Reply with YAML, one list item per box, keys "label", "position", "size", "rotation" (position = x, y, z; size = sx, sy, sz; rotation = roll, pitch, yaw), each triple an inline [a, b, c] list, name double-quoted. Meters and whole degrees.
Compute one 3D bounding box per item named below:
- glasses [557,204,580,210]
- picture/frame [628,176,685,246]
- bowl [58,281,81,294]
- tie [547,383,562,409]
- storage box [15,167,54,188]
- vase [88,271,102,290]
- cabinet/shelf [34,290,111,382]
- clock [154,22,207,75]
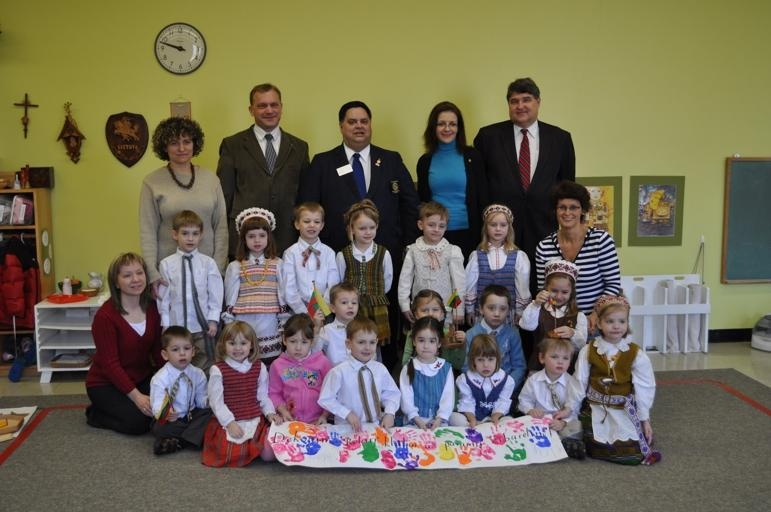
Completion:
- label: "glasses"
  position: [1.452, -0.383, 5.252]
  size: [0.169, 0.054, 0.044]
  rotation: [-1, 7, 8]
- label: "picture/frame"
  position: [2.654, -0.466, 6.561]
  size: [0.682, 0.871, 0.041]
  rotation: [0, 5, -7]
- label: "bowl"
  position: [-2.952, 0.283, 6.181]
  size: [0.168, 0.108, 0.168]
  rotation: [0, 1, 0]
- label: "tie"
  position: [1.251, 1.039, 4.920]
  size: [0.057, 0.206, 0.059]
  rotation: [-23, -21, 7]
- label: "storage box"
  position: [-3.251, -0.716, 6.142]
  size: [0.310, 0.222, 0.147]
  rotation: [-6, 8, -27]
- label: "vase"
  position: [-2.683, 0.233, 6.197]
  size: [0.168, 0.170, 0.118]
  rotation: [1, -3, -9]
- label: "cabinet/shelf"
  position: [-2.777, 0.713, 6.012]
  size: [0.714, 0.513, 0.549]
  rotation: [-2, 5, -17]
- label: "clock"
  position: [-1.943, -1.964, 6.220]
  size: [0.468, 0.469, 0.050]
  rotation: [1, 3, -2]
